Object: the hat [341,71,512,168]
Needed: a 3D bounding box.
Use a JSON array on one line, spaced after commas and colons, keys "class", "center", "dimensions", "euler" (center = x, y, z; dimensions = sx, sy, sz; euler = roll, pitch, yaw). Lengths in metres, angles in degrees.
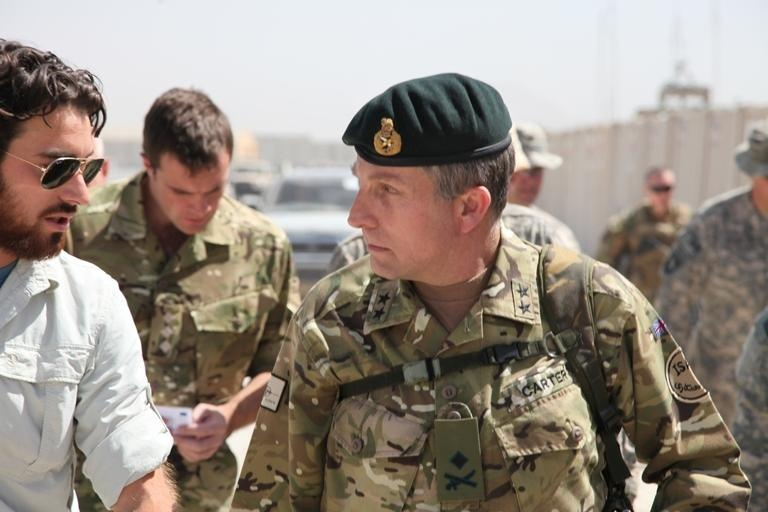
[{"class": "hat", "center": [0.208, -0.644, 6.506], "dimensions": [0.776, 0.309, 0.589], "euler": [-3, 13, -17]}]
